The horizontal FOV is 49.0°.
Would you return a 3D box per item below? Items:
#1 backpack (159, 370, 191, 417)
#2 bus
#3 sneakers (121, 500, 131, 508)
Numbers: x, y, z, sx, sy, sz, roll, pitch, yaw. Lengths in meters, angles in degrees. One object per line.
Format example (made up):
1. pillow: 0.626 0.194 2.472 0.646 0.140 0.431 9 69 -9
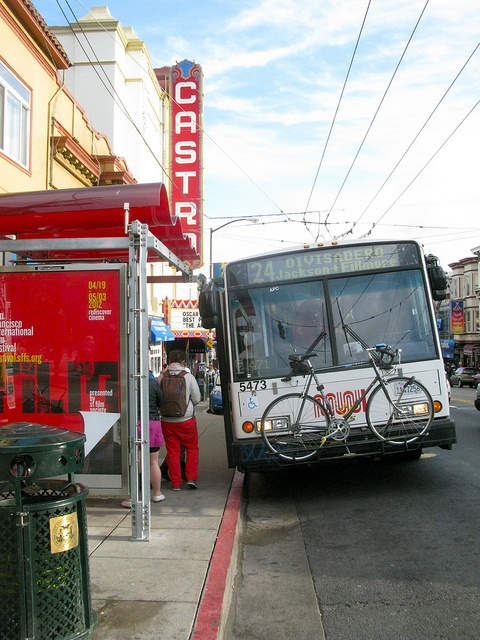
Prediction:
1. backpack: -0.809 0.889 6.555 0.339 0.544 0.317 0 3 14
2. bus: 1.085 0.333 6.664 2.879 2.435 1.101 -6 -2 -3
3. sneakers: -1.249 2.008 5.767 0.090 0.092 0.225 5 -6 -15
